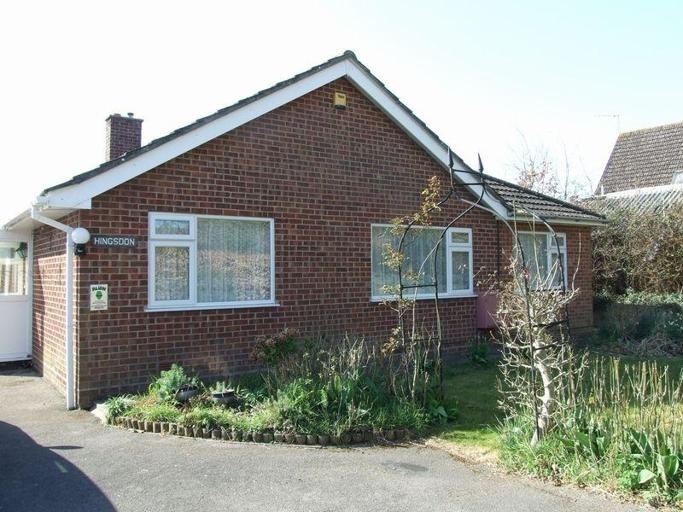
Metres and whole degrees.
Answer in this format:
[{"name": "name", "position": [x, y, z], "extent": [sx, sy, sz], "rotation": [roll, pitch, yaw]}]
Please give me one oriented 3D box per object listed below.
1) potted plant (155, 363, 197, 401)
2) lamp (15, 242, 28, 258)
[{"name": "potted plant", "position": [-3.134, 2.420, 12.899], "extent": [0.671, 0.705, 0.729], "rotation": [3, -22, -9]}, {"name": "lamp", "position": [-8.232, -0.141, 17.459], "extent": [0.412, 0.415, 0.092], "rotation": [3, 12, 20]}]
